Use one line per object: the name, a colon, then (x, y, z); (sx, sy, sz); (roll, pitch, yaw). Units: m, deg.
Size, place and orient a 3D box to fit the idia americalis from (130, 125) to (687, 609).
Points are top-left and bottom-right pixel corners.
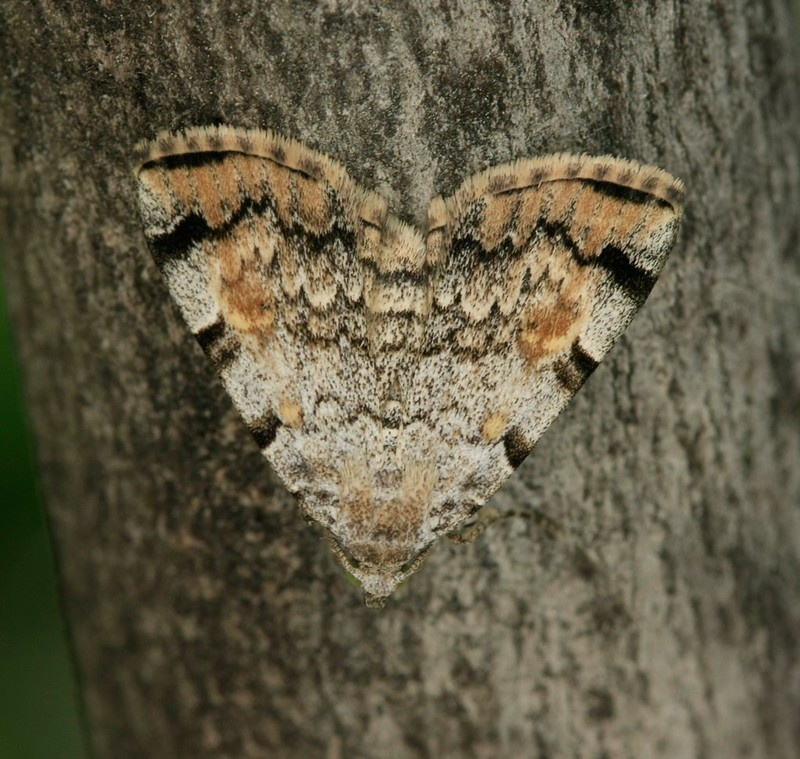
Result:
idia americalis: (0.044, -0.055, 2.823); (0.734, 0.214, 0.740); (4, 95, 1)
